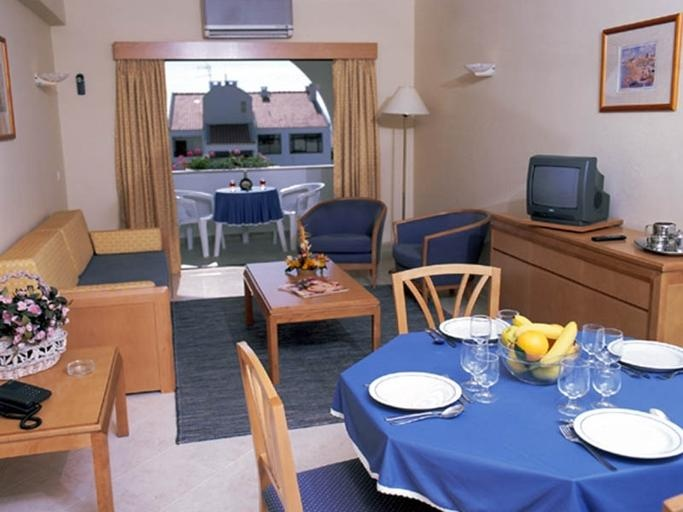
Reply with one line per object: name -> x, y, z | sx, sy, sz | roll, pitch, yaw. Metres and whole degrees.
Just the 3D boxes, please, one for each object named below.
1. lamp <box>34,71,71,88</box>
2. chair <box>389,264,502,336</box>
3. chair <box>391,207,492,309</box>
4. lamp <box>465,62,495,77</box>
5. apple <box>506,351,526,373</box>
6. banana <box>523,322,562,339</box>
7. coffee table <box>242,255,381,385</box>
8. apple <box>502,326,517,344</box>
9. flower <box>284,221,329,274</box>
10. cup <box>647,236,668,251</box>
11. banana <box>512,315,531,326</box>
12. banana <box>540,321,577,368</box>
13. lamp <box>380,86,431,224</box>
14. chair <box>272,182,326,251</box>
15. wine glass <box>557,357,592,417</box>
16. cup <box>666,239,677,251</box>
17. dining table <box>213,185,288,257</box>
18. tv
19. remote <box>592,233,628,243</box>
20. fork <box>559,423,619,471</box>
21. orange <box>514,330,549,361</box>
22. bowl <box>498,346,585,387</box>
lamp -> -3.063, -1.860, 5.607 | 0.296, 0.143, 0.706 | -9, 16, -25
chair -> 0.732, 0.309, 3.815 | 0.544, 0.713, 0.495 | 0, 5, 12
chair -> 1.064, 0.032, 5.730 | 0.988, 0.954, 0.945 | -3, 11, -15
lamp -> 1.442, -1.936, 5.534 | 0.298, 0.146, 0.265 | 1, 15, 15
apple -> 0.691, 0.430, 2.120 | 0.076, 0.070, 0.087 | 0, 7, -4
banana -> 0.831, 0.309, 2.205 | 0.139, 0.047, 0.076 | 1, 13, 14
coffee table -> -0.327, 0.513, 4.712 | 0.899, 0.564, 1.573 | -3, 9, -13
apple -> 0.685, 0.327, 2.178 | 0.049, 0.051, 0.065 | -9, 21, 15
flower -> -0.319, -0.079, 4.772 | 0.365, 0.469, 0.405 | 1, 10, 7
cup -> 1.977, -0.083, 3.329 | 0.085, 0.057, 0.088 | 0, 4, 0
banana -> 0.776, 0.292, 2.331 | 0.048, 0.024, 0.062 | 4, 11, -14
banana -> 0.866, 0.322, 2.135 | 0.080, 0.101, 0.302 | 17, 42, 28
lamp -> 0.822, -1.322, 6.973 | 0.631, 1.804, 0.999 | -1, 14, 4
chair -> -0.576, -0.639, 8.170 | 0.828, 1.178, 0.894 | -2, 9, -24
wine glass -> 0.860, 0.496, 1.983 | 0.130, 0.247, 0.143 | 4, -9, 26
cup -> 2.002, -0.074, 3.240 | 0.050, 0.050, 0.053 | 0, 1, 0
dining table -> -1.372, -0.528, 7.921 | 1.309, 1.040, 1.339 | -7, 6, -41
tv -> 1.761, -0.518, 4.144 | 0.379, 0.517, 0.509 | -9, 15, -32
remote -> 1.844, -0.124, 3.659 | 0.230, 0.023, 0.234 | 4, 16, 23
fork -> 0.822, 0.639, 1.790 | 0.047, 0.024, 0.199 | -6, 23, -13
orange -> 0.744, 0.343, 2.118 | 0.105, 0.110, 0.106 | -4, 20, -6
bowl -> 0.768, 0.439, 2.125 | 0.189, 0.109, 0.199 | 0, 9, 0
